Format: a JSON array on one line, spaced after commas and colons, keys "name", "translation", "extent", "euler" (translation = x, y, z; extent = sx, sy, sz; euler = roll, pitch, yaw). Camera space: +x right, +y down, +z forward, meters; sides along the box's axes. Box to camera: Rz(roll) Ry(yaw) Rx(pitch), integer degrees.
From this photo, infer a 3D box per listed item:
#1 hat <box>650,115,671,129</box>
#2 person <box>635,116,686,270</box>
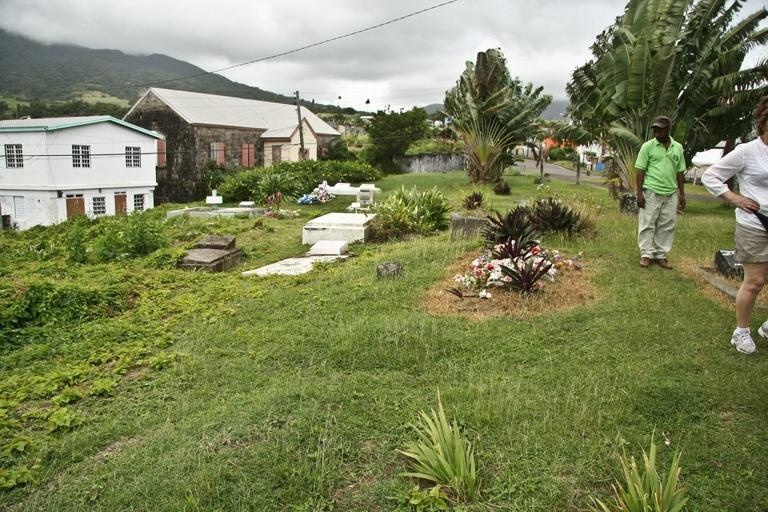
[{"name": "hat", "translation": [4.560, -2.229, 9.465], "extent": [0.227, 0.195, 0.390], "euler": [2, 11, 22]}, {"name": "person", "translation": [4.549, -1.068, 9.529], "extent": [0.804, 2.460, 0.496], "euler": [-5, 10, -12]}]
